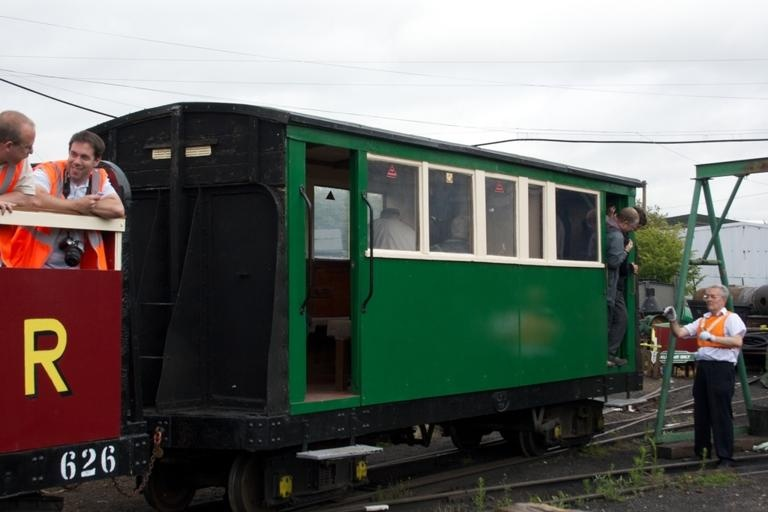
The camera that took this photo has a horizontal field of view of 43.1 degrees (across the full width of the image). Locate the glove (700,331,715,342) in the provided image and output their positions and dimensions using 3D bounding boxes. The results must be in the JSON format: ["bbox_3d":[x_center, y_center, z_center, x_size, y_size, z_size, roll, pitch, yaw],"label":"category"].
[{"bbox_3d":[4.056,1.018,12.167,0.138,0.059,0.104,17,-9,26],"label":"glove"}]

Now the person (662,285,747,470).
[{"bbox_3d":[4.141,1.487,12.319,0.794,2.233,0.696,-4,-4,40],"label":"person"}]

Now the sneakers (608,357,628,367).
[{"bbox_3d":[3.215,1.460,13.429,0.304,0.127,0.129,-1,5,-8],"label":"sneakers"}]

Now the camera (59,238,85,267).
[{"bbox_3d":[-2.799,-0.038,8.730,0.206,0.279,0.192,0,-4,-19],"label":"camera"}]
